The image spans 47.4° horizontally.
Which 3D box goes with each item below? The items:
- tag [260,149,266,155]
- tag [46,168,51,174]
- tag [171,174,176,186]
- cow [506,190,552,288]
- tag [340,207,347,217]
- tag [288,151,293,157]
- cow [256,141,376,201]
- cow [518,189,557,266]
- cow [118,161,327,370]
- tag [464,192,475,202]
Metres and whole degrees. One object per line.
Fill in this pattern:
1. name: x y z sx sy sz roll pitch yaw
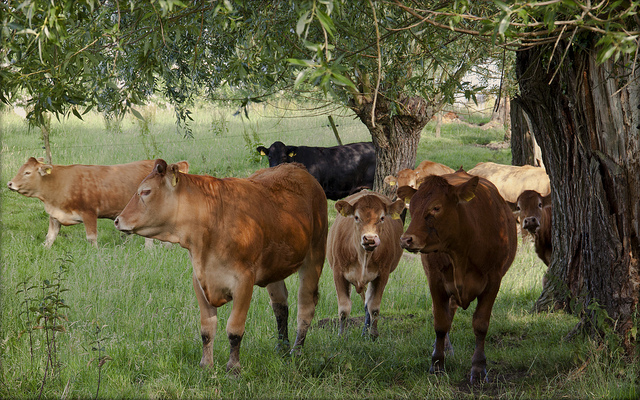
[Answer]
1. tag: -1.417 -1.194 18.170 0.117 0.194 0.333 -1 0 -4
2. tag: -5.218 -0.558 14.051 0.064 0.092 0.046 -4 4 -7
3. tag: -1.836 -0.246 9.227 0.036 0.122 0.061 0 -8 9
4. cow: 3.492 0.427 12.502 0.624 1.020 1.875 -9 -19 19
5. tag: 0.357 0.178 11.149 0.103 0.112 0.330 -2 1 1
6. tag: -0.734 -1.156 18.255 0.082 0.114 0.095 1 15 -16
7. cow: 0.230 -0.565 19.311 3.326 1.794 0.942 -5 14 -20
8. cow: 3.882 0.445 12.784 0.689 1.129 2.065 -5 -3 28
9. cow: -1.144 0.950 9.977 1.298 3.006 3.710 7 3 38
10. tag: 2.000 -0.033 9.795 0.093 0.022 0.086 -34 -3 -41
